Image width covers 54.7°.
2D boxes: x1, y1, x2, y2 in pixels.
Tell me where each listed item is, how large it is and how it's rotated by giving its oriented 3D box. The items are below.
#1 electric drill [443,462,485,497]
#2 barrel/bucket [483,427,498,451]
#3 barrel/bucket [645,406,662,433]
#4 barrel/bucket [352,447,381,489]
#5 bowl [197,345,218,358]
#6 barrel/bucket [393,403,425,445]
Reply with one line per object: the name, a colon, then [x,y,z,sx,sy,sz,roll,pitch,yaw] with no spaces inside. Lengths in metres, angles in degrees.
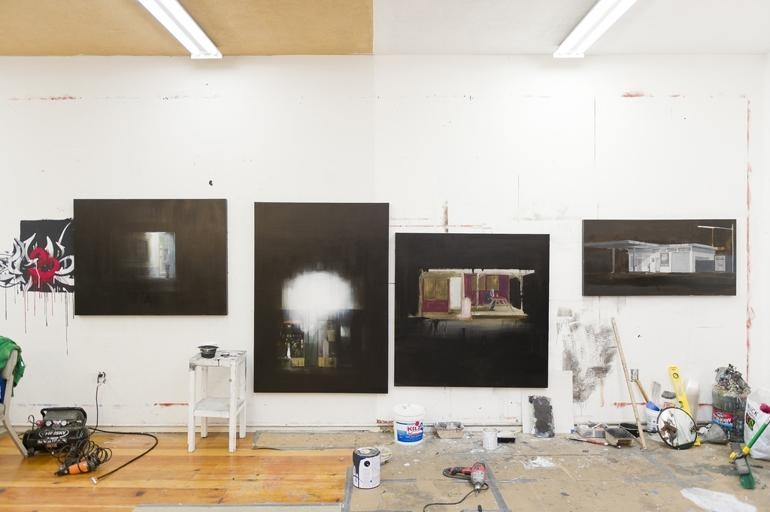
electric drill: [0.728,1.966,6.654,0.400,0.210,0.278,0,-4,4]
barrel/bucket: [0.996,1.733,7.105,0.168,0.169,0.172,-1,-4,0]
barrel/bucket: [2.608,1.557,7.182,0.119,0.262,0.253,1,-4,-6]
barrel/bucket: [-0.159,1.873,6.582,0.325,0.327,0.320,0,-4,0]
bowl: [-1.700,0.911,7.116,0.129,0.059,0.129,1,-4,0]
barrel/bucket: [0.235,1.601,7.091,0.346,0.306,0.331,-1,-6,0]
